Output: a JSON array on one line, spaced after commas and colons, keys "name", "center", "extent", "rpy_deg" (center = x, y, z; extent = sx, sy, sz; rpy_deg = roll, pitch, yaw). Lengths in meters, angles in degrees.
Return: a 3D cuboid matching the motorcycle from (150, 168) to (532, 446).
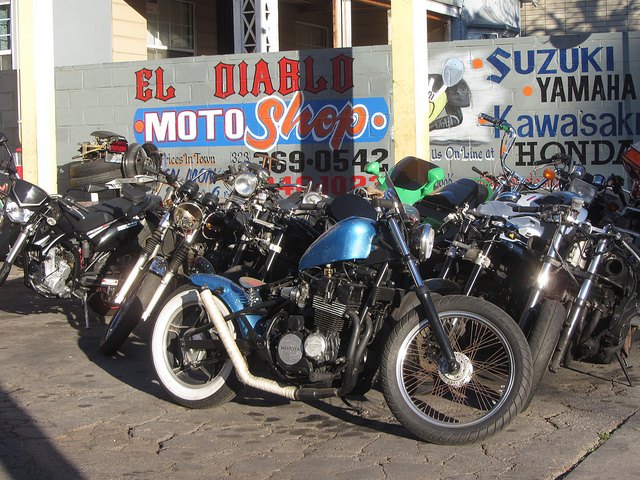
[{"name": "motorcycle", "center": [0.058, 0.450, 4.404], "extent": [2.675, 1.664, 0.685], "rpy_deg": [4, 2, 25]}]
